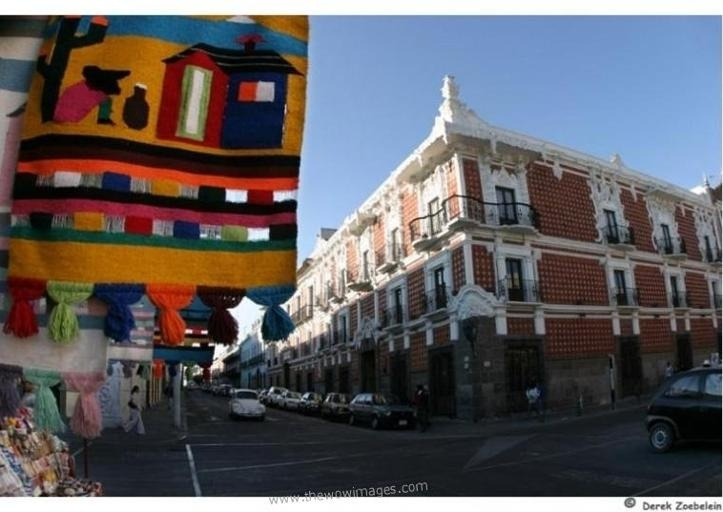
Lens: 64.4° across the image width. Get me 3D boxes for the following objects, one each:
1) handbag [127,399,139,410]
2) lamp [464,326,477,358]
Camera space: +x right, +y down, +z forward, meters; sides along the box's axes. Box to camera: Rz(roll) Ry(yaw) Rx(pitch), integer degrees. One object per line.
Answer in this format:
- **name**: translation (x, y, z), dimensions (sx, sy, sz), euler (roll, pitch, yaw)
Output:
- **handbag**: translation (-7.381, 4.850, 18.646), dimensions (0.302, 0.336, 0.413), euler (5, -17, -20)
- **lamp**: translation (4.049, 3.154, 21.091), dimensions (0.250, 1.178, 0.452), euler (10, -19, -34)
